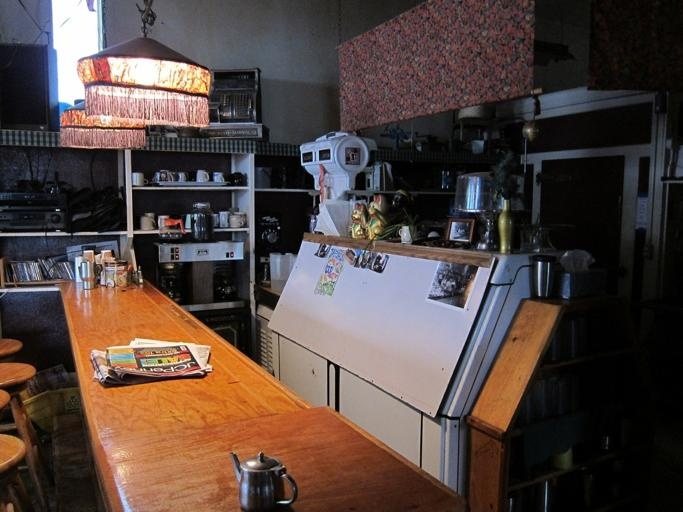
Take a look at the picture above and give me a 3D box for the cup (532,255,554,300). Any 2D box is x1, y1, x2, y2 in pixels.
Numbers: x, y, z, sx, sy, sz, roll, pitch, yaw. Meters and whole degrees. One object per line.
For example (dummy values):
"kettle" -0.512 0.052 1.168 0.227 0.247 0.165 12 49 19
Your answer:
"cup" 1.051 0.106 2.811 0.139 0.221 0.077 -4 10 -19

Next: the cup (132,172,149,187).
"cup" -1.806 -0.670 4.897 0.109 0.126 0.175 -4 -4 28

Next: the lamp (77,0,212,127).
"lamp" -0.938 -0.925 2.727 0.491 0.511 0.498 1 2 16

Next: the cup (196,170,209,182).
"cup" -1.311 -0.747 5.136 0.123 0.118 0.305 -3 9 -13

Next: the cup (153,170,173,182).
"cup" -1.609 -0.718 4.956 0.192 0.108 0.147 -5 10 -26

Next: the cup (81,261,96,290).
"cup" -2.019 0.150 4.325 0.104 0.218 0.142 -4 9 -16

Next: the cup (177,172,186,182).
"cup" -1.476 -0.722 5.045 0.083 0.098 0.109 -1 -4 2

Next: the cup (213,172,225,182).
"cup" -1.141 -0.741 5.117 0.080 0.128 0.130 1 7 -1

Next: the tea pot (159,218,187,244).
"tea pot" -1.487 -0.229 4.771 0.237 0.226 0.169 1 2 -37

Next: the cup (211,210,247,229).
"cup" -1.079 -0.348 5.198 0.270 0.109 0.174 1 1 25

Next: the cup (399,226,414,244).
"cup" 0.402 -0.131 3.450 0.103 0.101 0.065 -2 -1 43

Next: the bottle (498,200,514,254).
"bottle" 0.863 -0.162 2.877 0.078 0.276 0.230 2 9 16

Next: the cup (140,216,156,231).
"cup" -1.756 -0.289 4.925 0.104 0.129 0.131 1 2 29

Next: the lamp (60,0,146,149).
"lamp" -1.438 -0.901 3.284 0.426 0.468 0.426 2 -1 35
